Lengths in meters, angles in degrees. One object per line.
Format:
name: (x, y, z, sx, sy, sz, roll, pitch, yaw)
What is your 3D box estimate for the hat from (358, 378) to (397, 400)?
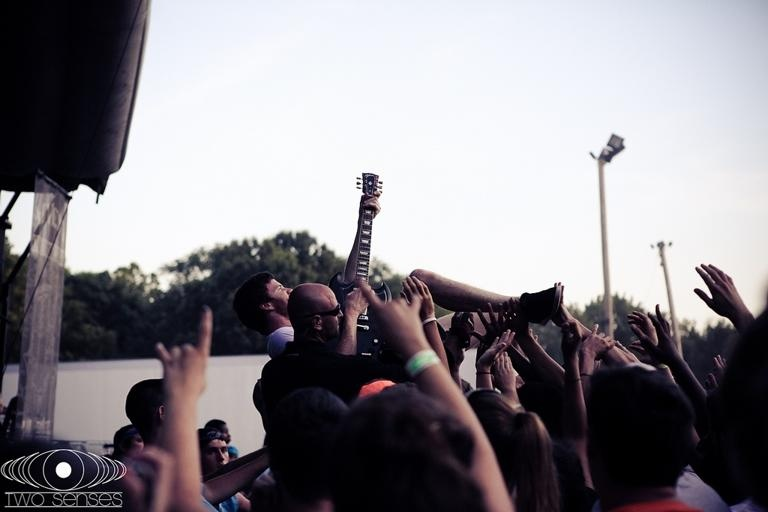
hat: (-0.049, 0.816, 4.281, 0.234, 0.105, 0.477, 3, -9, 0)
